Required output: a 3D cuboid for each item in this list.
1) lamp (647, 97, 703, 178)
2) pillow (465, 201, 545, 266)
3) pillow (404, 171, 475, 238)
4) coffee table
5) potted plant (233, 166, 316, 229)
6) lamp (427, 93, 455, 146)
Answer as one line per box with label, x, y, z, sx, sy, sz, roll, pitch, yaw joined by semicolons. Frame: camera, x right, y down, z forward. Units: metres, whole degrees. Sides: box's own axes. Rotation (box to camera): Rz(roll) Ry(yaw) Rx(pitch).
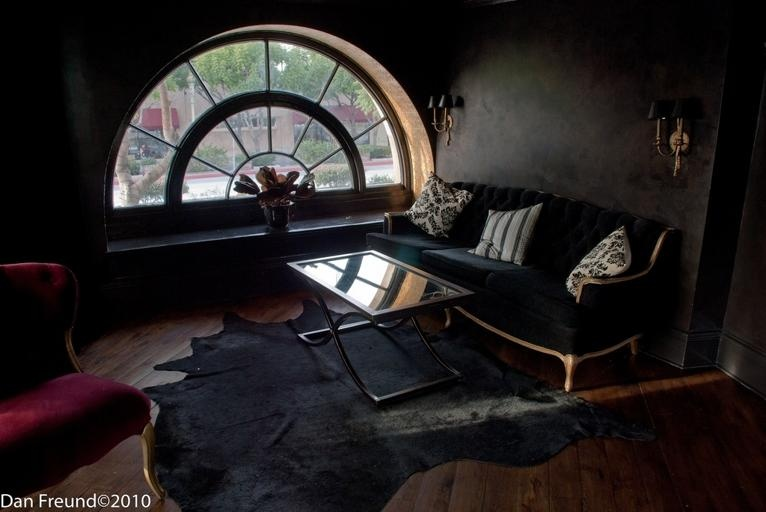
lamp;2.151;-0.885;3.659;0.350;0.567;0.220;15;25;40
pillow;1.111;-0.214;4.586;0.363;0.487;0.605;-9;12;-31
pillow;0.685;-0.524;5.302;0.504;0.148;0.520;-13;19;40
coffee table;0.026;0.272;3.826;1.021;0.816;1.713;-12;22;-30
potted plant;-1.203;-0.564;5.425;0.799;0.564;0.728;-1;-2;-17
lamp;0.665;-1.589;5.749;0.385;0.578;0.270;11;23;33
